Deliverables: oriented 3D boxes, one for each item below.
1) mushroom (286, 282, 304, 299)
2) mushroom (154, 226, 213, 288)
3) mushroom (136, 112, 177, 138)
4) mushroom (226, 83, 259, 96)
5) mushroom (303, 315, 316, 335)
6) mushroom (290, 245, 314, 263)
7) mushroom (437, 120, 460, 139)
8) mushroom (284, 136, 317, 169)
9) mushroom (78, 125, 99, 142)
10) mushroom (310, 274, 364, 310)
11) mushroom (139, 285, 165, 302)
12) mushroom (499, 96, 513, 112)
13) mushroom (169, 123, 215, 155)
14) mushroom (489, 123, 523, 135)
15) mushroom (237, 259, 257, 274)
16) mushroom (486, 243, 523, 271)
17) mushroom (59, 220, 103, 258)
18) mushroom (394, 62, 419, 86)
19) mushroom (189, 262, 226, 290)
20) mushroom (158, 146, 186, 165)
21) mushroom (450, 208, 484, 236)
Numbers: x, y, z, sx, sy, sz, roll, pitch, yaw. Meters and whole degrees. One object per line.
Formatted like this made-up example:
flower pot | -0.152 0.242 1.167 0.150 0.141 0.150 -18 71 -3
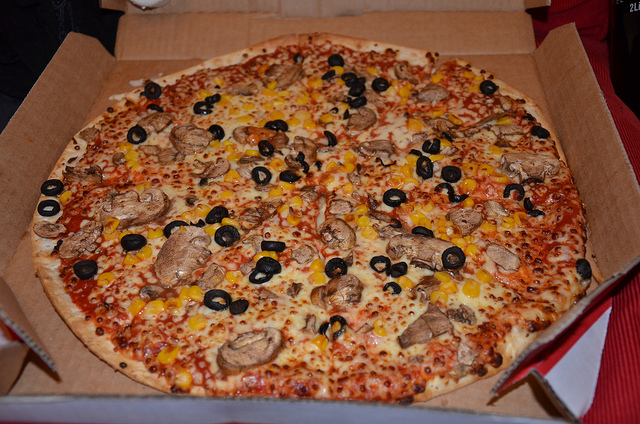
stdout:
mushroom | -0.135 0.417 3.180 0.063 0.021 0.093 34 73 9
mushroom | -0.812 0.200 3.320 0.308 0.101 0.416 26 42 4
mushroom | -1.046 -0.579 3.740 0.220 0.051 0.146 -36 62 -22
mushroom | -0.521 -0.819 3.901 0.167 0.041 0.090 -6 20 4
mushroom | -0.050 0.599 3.070 0.082 0.023 0.075 10 83 -19
mushroom | -0.095 0.239 3.262 0.130 0.026 0.089 -21 73 -9
mushroom | 0.800 -0.522 3.692 0.146 0.038 0.074 31 58 16
mushroom | -0.099 -0.376 3.617 0.160 0.050 0.210 13 58 2
mushroom | -1.479 -0.500 3.742 0.098 0.027 0.095 25 72 -1
mushroom | 0.120 0.434 3.184 0.335 0.115 0.212 -7 37 37
mushroom | -0.920 0.436 3.184 0.107 0.041 0.076 -2 64 -8
mushroom | 1.209 -0.705 3.778 0.081 0.024 0.096 -2 64 0
mushroom | -0.798 -0.464 3.638 0.224 0.064 0.185 -3 62 -13
mushroom | 1.181 -0.529 3.691 0.162 0.035 0.085 -5 44 -26
mushroom | -0.396 0.301 3.234 0.098 0.021 0.064 -33 75 -13
mushroom | 1.028 0.245 3.236 0.143 0.225 0.050 22 25 25
mushroom | -1.363 0.158 3.361 0.148 0.057 0.243 37 66 6
mushroom | 0.575 -0.933 3.945 0.168 0.046 0.124 42 63 14
mushroom | -0.605 0.365 3.193 0.111 0.040 0.170 33 66 23
mushroom | -0.914 -0.353 3.623 0.139 0.040 0.096 -23 56 -9
mushroom | 0.846 0.055 3.343 0.156 0.041 0.151 28 64 20
